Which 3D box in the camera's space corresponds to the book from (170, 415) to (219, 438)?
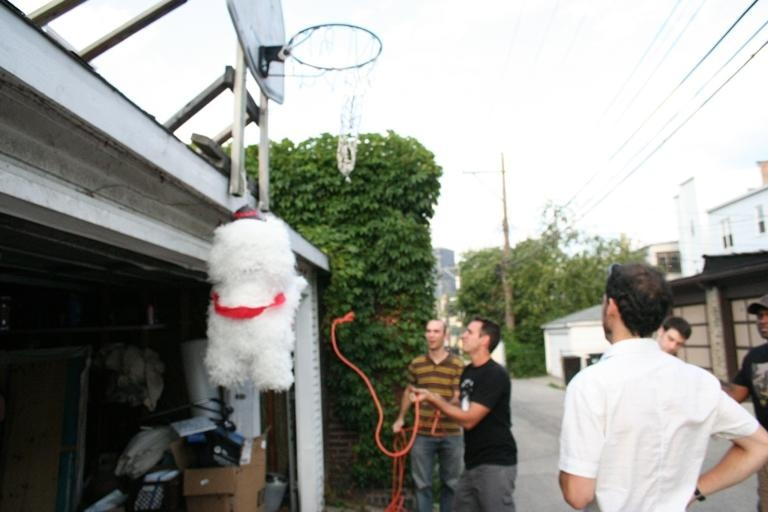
[{"bbox_3d":[-1.845,1.685,5.460,0.413,0.172,0.422,2,-12,-21],"label":"book"}]
